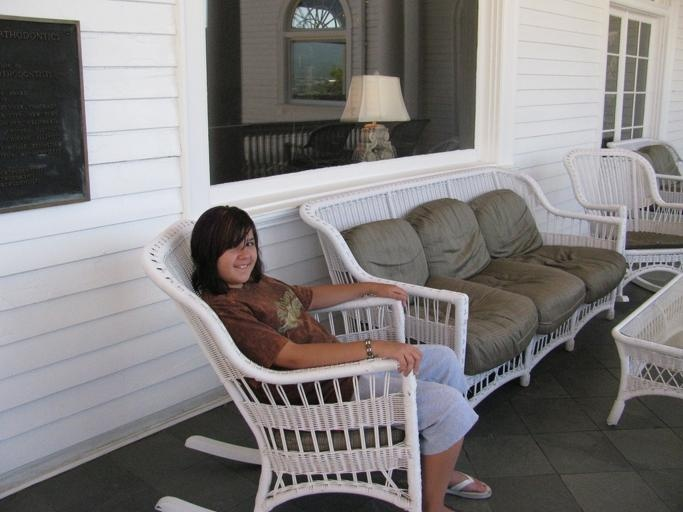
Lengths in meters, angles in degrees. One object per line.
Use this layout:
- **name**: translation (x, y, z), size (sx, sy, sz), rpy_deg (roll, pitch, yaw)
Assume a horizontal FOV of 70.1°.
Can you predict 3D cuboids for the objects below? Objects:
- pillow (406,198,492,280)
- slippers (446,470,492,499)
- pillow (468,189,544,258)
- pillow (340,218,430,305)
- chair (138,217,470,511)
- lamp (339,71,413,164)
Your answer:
- **pillow**: translation (0.660, -0.091, 3.086), size (0.480, 0.348, 0.263), rpy_deg (-21, 15, -39)
- **slippers**: translation (0.531, 0.963, 2.041), size (0.198, 0.045, 0.092), rpy_deg (5, 21, 19)
- **pillow**: translation (1.207, -0.233, 3.539), size (0.550, 0.505, 0.162), rpy_deg (-19, -6, -31)
- **pillow**: translation (0.171, -0.008, 2.836), size (0.654, 0.463, 0.348), rpy_deg (-18, 8, -42)
- **chair**: translation (-0.213, 0.351, 2.084), size (1.318, 1.112, 0.867), rpy_deg (2, 27, 8)
- **lamp**: translation (0.218, -0.978, 3.431), size (0.310, 0.636, 0.585), rpy_deg (16, 25, 38)
